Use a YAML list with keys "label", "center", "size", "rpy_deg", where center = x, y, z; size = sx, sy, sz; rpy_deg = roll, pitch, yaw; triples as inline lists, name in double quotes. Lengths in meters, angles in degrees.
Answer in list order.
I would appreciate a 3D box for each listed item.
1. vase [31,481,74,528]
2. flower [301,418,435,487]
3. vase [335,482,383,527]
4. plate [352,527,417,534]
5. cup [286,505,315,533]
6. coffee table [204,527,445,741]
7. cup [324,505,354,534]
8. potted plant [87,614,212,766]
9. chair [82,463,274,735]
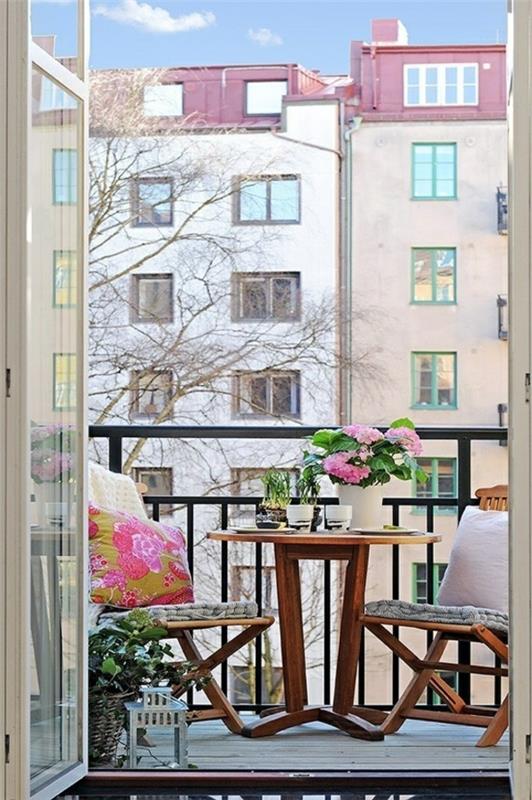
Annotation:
- label: "vase"
  center: [-0.777, 0.382, 7.442]
  size: [0.143, 0.200, 0.141]
  rpy_deg: [2, -6, -14]
- label: "flower"
  center: [0.435, 0.233, 9.318]
  size: [0.478, 0.279, 0.512]
  rpy_deg: [0, -3, -3]
- label: "vase"
  center: [0.384, 0.436, 8.315]
  size: [0.157, 0.174, 0.152]
  rpy_deg: [-2, -3, 13]
- label: "plate"
  center: [0.482, 0.522, 8.088]
  size: [0.258, 0.018, 0.260]
  rpy_deg: [-1, 0, -7]
- label: "cup"
  center: [0.142, 0.483, 8.218]
  size: [0.094, 0.114, 0.100]
  rpy_deg: [0, -2, 0]
- label: "coffee table"
  center: [0.236, 0.906, 8.213]
  size: [0.767, 0.757, 0.807]
  rpy_deg: [2, -3, -40]
- label: "cup"
  center: [0.296, 0.477, 8.210]
  size: [0.094, 0.093, 0.091]
  rpy_deg: [-1, -4, 0]
- label: "potted plant"
  center: [-0.506, 1.085, 7.800]
  size: [0.391, 0.549, 0.537]
  rpy_deg: [0, 1, 26]
- label: "chair"
  center: [-0.329, 0.793, 8.668]
  size: [0.941, 1.394, 0.794]
  rpy_deg: [-4, -7, 30]
